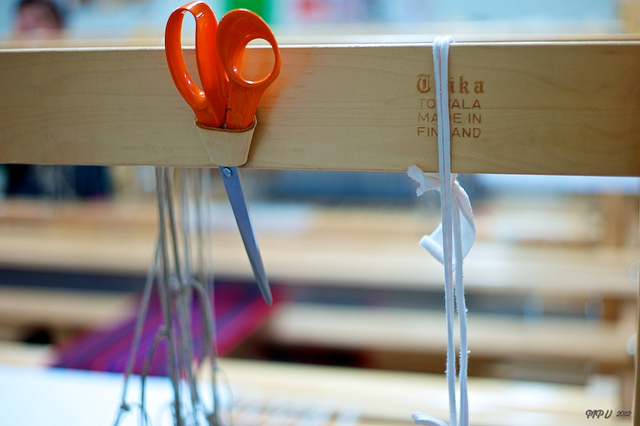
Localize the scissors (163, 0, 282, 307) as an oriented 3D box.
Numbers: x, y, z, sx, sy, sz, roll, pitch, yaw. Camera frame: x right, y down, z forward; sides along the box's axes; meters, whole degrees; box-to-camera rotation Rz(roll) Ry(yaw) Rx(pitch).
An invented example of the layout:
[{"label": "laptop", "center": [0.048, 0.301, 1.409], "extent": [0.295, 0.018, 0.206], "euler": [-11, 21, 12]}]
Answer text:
[{"label": "scissors", "center": [-0.113, -0.067, 1.052], "extent": [0.136, 0.066, 0.379], "euler": [-2, -71, 17]}]
